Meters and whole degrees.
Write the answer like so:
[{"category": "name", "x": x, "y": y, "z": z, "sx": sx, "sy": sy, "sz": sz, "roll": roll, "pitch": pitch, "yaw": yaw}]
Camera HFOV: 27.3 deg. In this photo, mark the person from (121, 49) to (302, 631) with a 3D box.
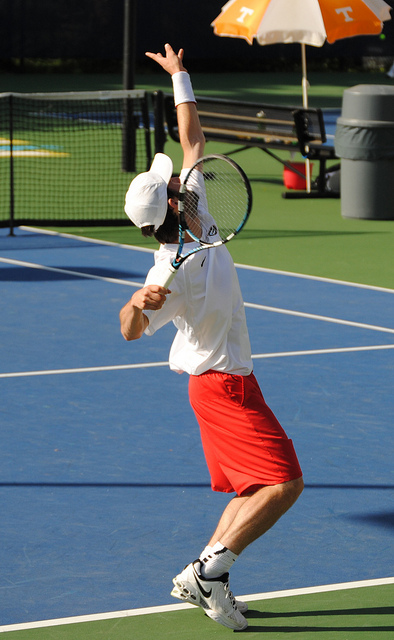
[{"category": "person", "x": 0.057, "y": -0.011, "z": 3.508, "sx": 0.685, "sy": 2.318, "sz": 1.298, "roll": 0, "pitch": 5, "yaw": 0}]
